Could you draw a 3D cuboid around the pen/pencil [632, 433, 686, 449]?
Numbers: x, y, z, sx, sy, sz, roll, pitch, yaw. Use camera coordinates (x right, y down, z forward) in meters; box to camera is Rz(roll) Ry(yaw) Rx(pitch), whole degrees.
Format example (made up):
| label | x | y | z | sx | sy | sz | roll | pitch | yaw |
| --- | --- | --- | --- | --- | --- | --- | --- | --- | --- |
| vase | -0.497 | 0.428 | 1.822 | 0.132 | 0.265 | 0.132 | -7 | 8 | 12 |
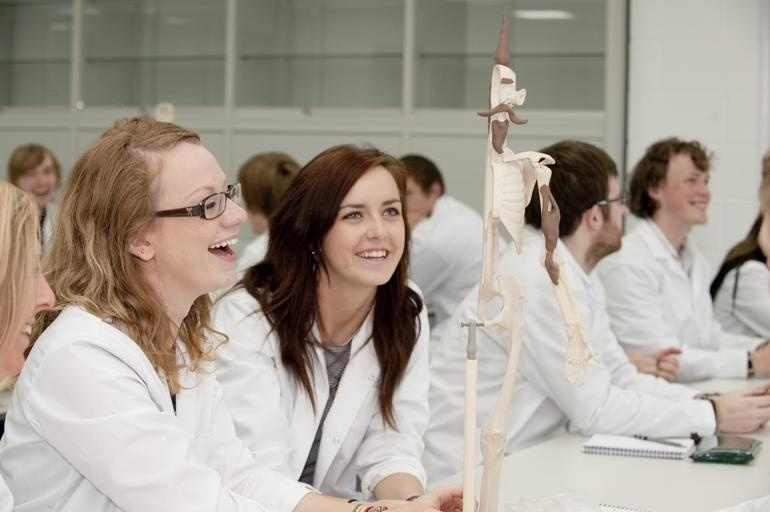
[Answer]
| label | x | y | z | sx | sy | sz | roll | pitch | yaw |
| --- | --- | --- | --- | --- | --- | --- | --- | --- | --- |
| pen/pencil | 0.831 | 0.558 | 2.595 | 0.147 | 0.019 | 0.020 | 1 | 7 | 35 |
